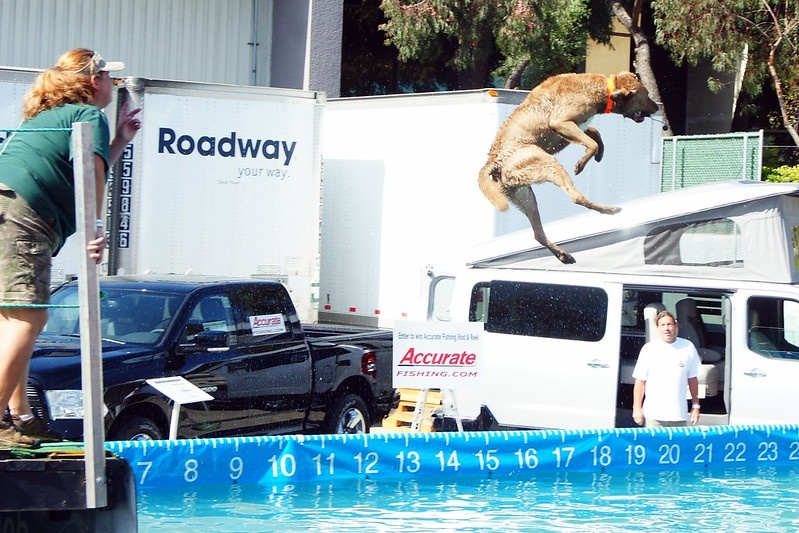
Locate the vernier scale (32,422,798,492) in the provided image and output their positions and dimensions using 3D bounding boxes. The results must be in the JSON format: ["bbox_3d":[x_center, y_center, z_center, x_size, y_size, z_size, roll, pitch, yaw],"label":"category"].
[{"bbox_3d":[0.556,2.058,14.440,7.104,0.619,0.422,-1,2,-9],"label":"vernier scale"}]

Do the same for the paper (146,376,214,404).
[{"bbox_3d":[-2.353,1.327,14.075,0.682,0.255,0.501,-1,3,-9],"label":"paper"}]

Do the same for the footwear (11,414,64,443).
[{"bbox_3d":[-3.042,1.353,10.974,0.526,0.204,0.175,5,12,17],"label":"footwear"}]

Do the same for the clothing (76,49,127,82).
[{"bbox_3d":[-2.527,-1.690,11.150,0.400,0.108,0.232,-12,25,-17],"label":"clothing"}]
